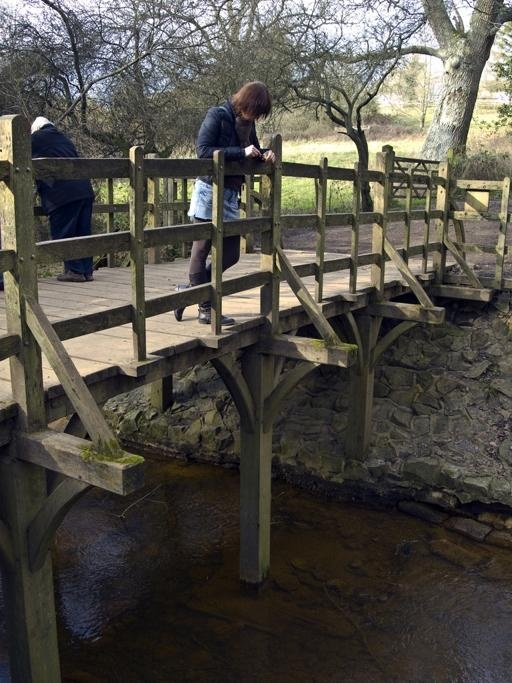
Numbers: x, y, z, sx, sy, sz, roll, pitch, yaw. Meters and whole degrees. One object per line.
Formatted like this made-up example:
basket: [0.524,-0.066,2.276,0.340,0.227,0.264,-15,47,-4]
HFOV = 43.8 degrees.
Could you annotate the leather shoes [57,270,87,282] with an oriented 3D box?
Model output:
leather shoes: [-1.832,-0.626,6.287,0.299,0.132,0.114,9,14,22]

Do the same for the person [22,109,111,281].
person: [-1.703,-1.232,5.679,0.488,1.502,0.964,-2,11,-16]

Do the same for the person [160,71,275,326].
person: [-0.213,-0.875,4.249,0.640,1.605,0.816,0,10,-8]
